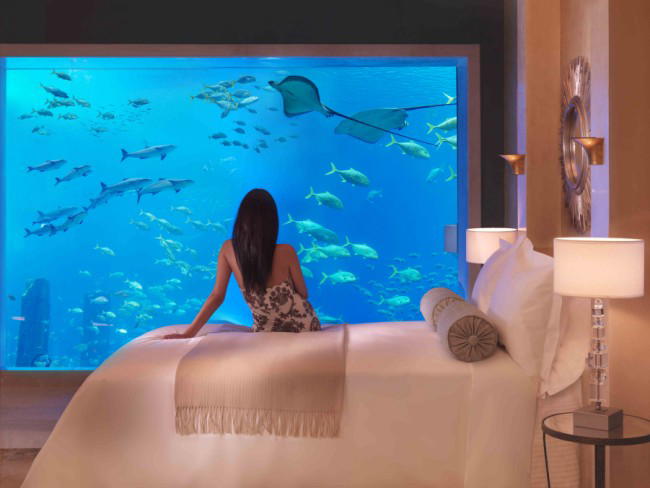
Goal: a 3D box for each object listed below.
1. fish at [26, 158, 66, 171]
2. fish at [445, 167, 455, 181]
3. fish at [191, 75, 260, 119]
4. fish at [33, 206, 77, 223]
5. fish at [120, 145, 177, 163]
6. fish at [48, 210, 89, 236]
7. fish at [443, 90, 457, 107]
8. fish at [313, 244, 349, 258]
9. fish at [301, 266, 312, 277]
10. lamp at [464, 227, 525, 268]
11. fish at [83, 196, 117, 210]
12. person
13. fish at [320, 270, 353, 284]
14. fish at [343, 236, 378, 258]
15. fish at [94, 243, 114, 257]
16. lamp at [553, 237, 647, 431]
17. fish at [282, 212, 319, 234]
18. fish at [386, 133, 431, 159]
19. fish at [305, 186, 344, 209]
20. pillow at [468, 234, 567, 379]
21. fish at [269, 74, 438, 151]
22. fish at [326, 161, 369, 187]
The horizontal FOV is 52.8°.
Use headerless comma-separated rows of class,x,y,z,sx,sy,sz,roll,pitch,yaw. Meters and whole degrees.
fish,-3.322,-0.939,7.717,0.380,0.142,0.065,-9,26,-23
fish,1.494,-0.830,7.768,0.136,0.105,0.066,10,-37,2
fish,-1.199,-1.791,7.963,0.780,0.491,0.167,-3,0,15
fish,-3.181,-0.349,7.714,0.486,0.187,0.091,-2,0,-5
fish,-2.201,-1.119,8.012,0.570,0.210,0.082,-6,32,-13
fish,-3.074,-0.256,7.762,0.347,0.139,0.079,-36,56,-23
fish,1.470,-1.737,7.768,0.138,0.146,0.057,-2,0,11
fish,0.082,0.095,7.948,0.390,0.189,0.150,4,-5,4
fish,-0.232,0.333,7.885,0.098,0.127,0.034,-17,5,30
lamp,1.363,0.035,5.525,0.334,0.217,0.344,0,-3,-4
fish,-2.721,-0.515,7.943,0.390,0.122,0.106,-24,43,-25
person,-0.454,0.159,5.043,1.620,1.188,0.631,-12,25,-41
fish,0.083,0.403,7.996,0.526,0.236,0.145,0,0,1
fish,0.439,0.071,7.966,0.390,0.222,0.172,21,-3,7
fish,-2.695,0.074,8.021,0.260,0.131,0.097,21,-5,-9
lamp,1.588,0.498,3.750,0.501,0.996,0.257,-2,0,12
fish,-0.299,-0.258,7.929,0.411,0.174,0.179,14,9,2
fish,0.970,-1.167,7.827,0.554,0.241,0.095,20,6,2
fish,0.025,-0.559,7.954,0.474,0.288,0.191,20,21,0
pillow,1.244,0.430,4.185,0.236,0.542,0.819,21,6,-6
fish,0.378,-1.523,7.781,1.968,0.864,0.222,14,46,-5
fish,0.288,-0.807,7.882,0.549,0.224,0.215,19,11,-5
